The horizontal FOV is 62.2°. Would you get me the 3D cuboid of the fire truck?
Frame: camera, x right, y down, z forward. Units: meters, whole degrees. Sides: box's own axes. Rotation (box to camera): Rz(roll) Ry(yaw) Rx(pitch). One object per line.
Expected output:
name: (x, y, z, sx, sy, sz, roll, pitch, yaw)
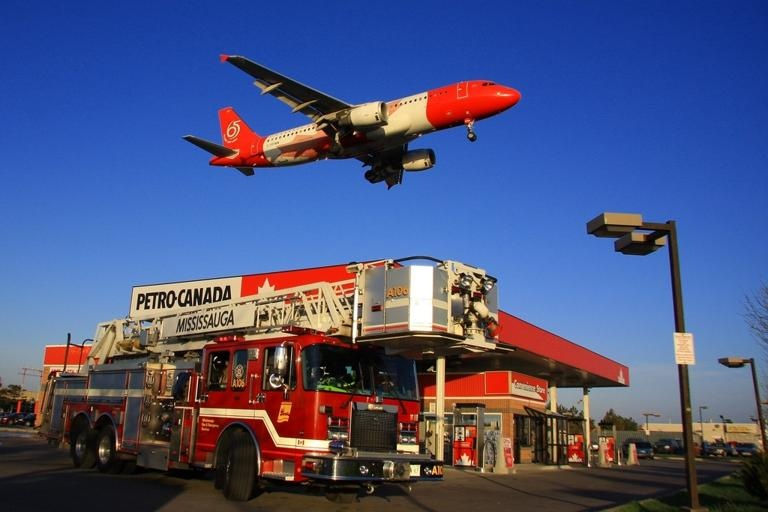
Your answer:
fire truck: (-4.907, 3.977, 20.296, 16.785, 5.868, 5.642, -11, -19, 38)
